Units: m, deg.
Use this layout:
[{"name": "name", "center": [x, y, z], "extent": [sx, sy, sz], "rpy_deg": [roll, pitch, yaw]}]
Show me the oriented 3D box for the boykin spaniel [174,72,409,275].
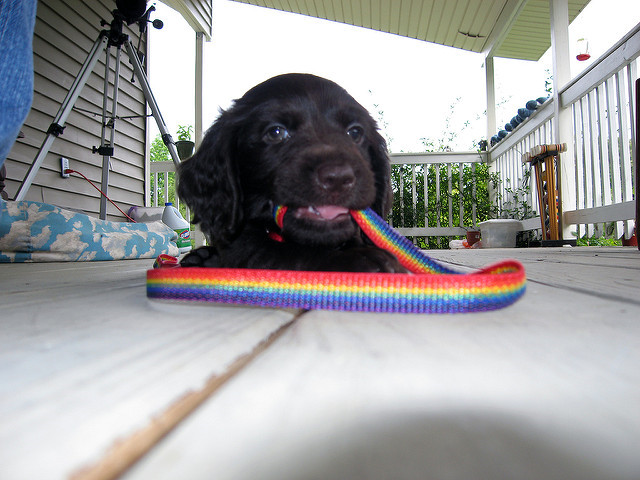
[{"name": "boykin spaniel", "center": [-0.054, -0.089, 0.609], "extent": [0.325, 0.323, 0.257], "rpy_deg": [2, -3, -14]}]
